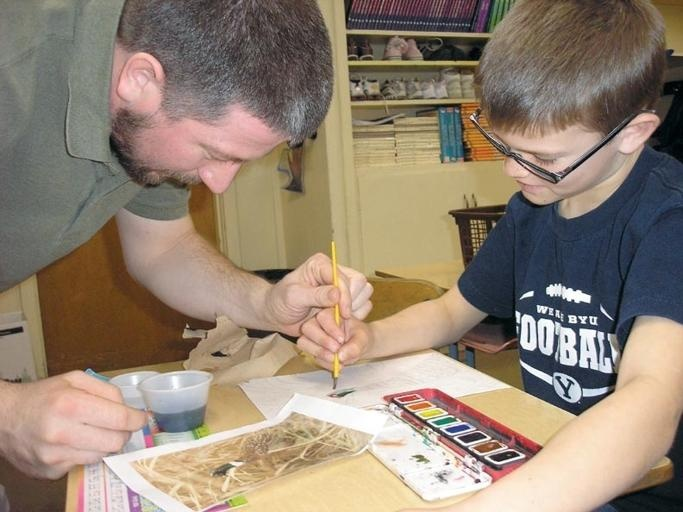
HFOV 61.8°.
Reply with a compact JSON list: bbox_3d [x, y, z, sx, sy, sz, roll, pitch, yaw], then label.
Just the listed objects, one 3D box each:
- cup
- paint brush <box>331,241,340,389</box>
[{"bbox_3d":[-0.335,0.261,1.077,0.107,0.065,0.153,-1,-4,-44],"label":"cup"},{"bbox_3d":[-0.014,0.121,1.244,0.023,0.292,0.016,-5,-16,13],"label":"paint brush"}]
